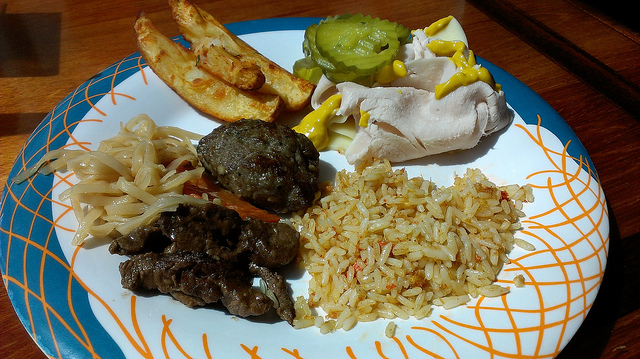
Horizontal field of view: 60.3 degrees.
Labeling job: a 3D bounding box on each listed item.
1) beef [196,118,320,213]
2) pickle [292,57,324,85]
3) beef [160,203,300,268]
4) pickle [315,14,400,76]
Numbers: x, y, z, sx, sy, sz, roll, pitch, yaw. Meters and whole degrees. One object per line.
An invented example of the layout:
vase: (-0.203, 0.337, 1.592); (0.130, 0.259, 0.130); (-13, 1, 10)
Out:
beef: (-0.552, -0.150, 5.075); (1.053, 0.316, 0.785); (30, 65, 5)
pickle: (-0.151, -1.189, 5.892); (0.283, 0.291, 0.093); (22, 61, -14)
beef: (-0.782, 0.478, 4.954); (1.206, 0.254, 0.545); (13, 41, 0)
pickle: (0.358, -1.361, 5.559); (0.825, 0.161, 0.652); (6, 67, -3)
